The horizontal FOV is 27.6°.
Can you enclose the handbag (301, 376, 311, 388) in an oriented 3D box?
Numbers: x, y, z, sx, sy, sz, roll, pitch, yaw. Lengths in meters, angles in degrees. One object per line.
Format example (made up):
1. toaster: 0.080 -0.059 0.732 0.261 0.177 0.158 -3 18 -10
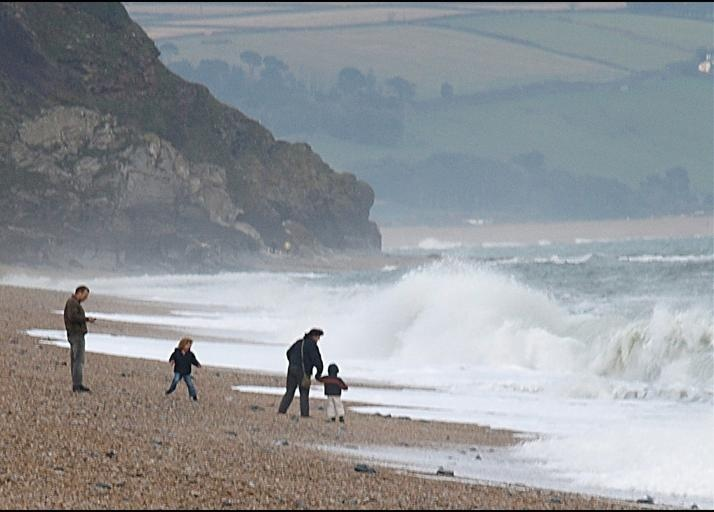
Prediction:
1. handbag: -6.102 15.682 180.274 0.915 1.757 0.390 -2 5 -30
